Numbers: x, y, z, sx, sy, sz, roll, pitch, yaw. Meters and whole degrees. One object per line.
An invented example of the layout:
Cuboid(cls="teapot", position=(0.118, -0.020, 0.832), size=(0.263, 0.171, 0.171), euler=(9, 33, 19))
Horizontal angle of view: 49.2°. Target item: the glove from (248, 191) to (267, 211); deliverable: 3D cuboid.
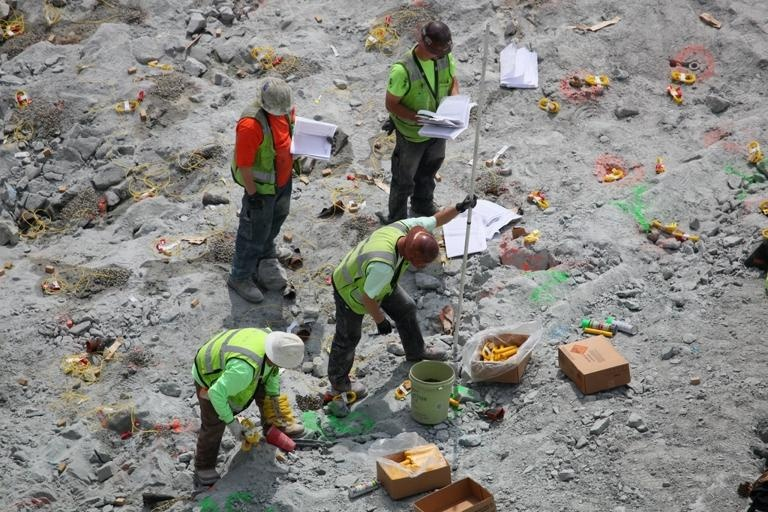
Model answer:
Cuboid(cls="glove", position=(-1.775, -0.771, 11.720), size=(0.196, 0.195, 0.202), euler=(2, 34, 2))

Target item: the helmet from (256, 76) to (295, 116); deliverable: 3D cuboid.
Cuboid(cls="helmet", position=(-1.489, -2.110, 11.474), size=(0.463, 0.572, 0.432), euler=(3, 60, -3))

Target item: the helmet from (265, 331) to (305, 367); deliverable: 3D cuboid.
Cuboid(cls="helmet", position=(-1.212, 1.144, 10.184), size=(0.453, 0.303, 0.385), euler=(4, 60, -3))

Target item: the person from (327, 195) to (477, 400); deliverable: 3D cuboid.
Cuboid(cls="person", position=(0.306, 0.677, 11.472), size=(1.165, 2.178, 1.513), euler=(23, 52, 16))

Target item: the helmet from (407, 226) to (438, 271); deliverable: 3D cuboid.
Cuboid(cls="helmet", position=(0.475, -0.148, 10.508), size=(0.370, 0.335, 0.503), euler=(2, 60, -4))

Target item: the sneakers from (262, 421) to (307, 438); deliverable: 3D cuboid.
Cuboid(cls="sneakers", position=(-1.281, 2.172, 10.848), size=(0.574, 0.256, 0.199), euler=(-3, 35, -11))

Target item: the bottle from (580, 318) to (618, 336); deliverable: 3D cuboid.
Cuboid(cls="bottle", position=(2.905, 0.940, 11.354), size=(0.341, 0.218, 0.128), euler=(2, 67, 33))

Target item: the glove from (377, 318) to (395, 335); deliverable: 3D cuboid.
Cuboid(cls="glove", position=(0.027, 0.907, 10.947), size=(0.195, 0.223, 0.227), euler=(-9, 23, 3))

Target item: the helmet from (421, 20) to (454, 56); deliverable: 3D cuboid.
Cuboid(cls="helmet", position=(0.709, -2.992, 11.583), size=(0.358, 0.243, 0.464), euler=(-35, 78, -15))

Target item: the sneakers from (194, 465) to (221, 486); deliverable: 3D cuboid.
Cuboid(cls="sneakers", position=(-2.240, 2.791, 10.689), size=(0.149, 0.395, 0.295), euler=(0, 88, -49))
